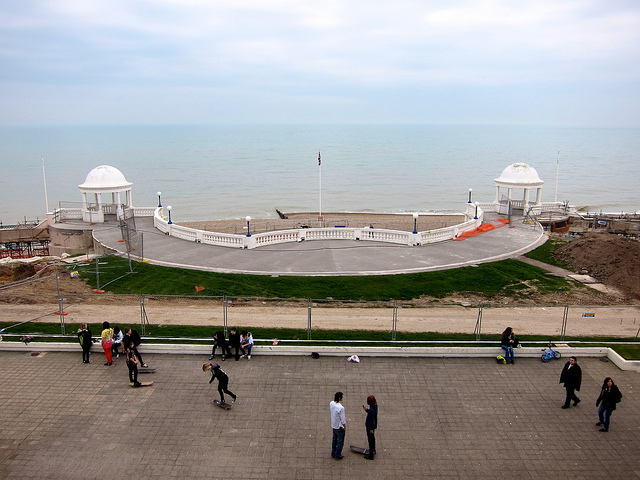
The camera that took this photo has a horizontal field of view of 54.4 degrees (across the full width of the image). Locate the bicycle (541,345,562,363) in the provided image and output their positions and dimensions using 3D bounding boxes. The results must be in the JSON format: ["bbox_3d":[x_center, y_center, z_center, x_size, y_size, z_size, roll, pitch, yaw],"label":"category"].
[{"bbox_3d":[9.516,4.716,25.624,0.908,0.423,0.428,-14,-3,-8],"label":"bicycle"}]

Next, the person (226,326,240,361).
[{"bbox_3d":[-3.548,4.205,25.391,0.570,1.352,0.493,0,14,16],"label":"person"}]

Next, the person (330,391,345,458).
[{"bbox_3d":[0.566,6.147,20.669,0.507,2.208,0.567,-4,13,1],"label":"person"}]

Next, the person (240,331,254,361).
[{"bbox_3d":[-3.021,4.300,25.512,0.570,1.140,0.674,-4,12,0],"label":"person"}]

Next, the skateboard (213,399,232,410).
[{"bbox_3d":[-3.598,6.019,22.777,0.810,0.102,0.220,9,27,27],"label":"skateboard"}]

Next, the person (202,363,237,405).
[{"bbox_3d":[-3.664,5.218,22.970,1.051,1.585,1.125,-5,12,-8],"label":"person"}]

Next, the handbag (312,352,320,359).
[{"bbox_3d":[-0.166,4.741,25.587,0.283,0.245,0.153,-3,12,1],"label":"handbag"}]

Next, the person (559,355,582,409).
[{"bbox_3d":[9.238,5.213,22.935,0.721,1.919,0.865,1,14,19],"label":"person"}]

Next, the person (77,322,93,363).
[{"bbox_3d":[-9.481,4.092,25.172,0.478,1.722,0.823,-9,14,-19],"label":"person"}]

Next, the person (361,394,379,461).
[{"bbox_3d":[1.664,6.202,20.812,0.511,2.148,0.766,-3,13,6],"label":"person"}]

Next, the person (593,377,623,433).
[{"bbox_3d":[10.171,5.739,22.025,0.800,1.955,0.990,0,13,16],"label":"person"}]

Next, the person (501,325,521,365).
[{"bbox_3d":[7.833,4.286,25.563,0.714,1.449,0.916,2,13,22],"label":"person"}]

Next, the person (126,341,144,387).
[{"bbox_3d":[-7.162,4.749,23.857,0.471,1.578,0.892,-8,13,-17],"label":"person"}]
